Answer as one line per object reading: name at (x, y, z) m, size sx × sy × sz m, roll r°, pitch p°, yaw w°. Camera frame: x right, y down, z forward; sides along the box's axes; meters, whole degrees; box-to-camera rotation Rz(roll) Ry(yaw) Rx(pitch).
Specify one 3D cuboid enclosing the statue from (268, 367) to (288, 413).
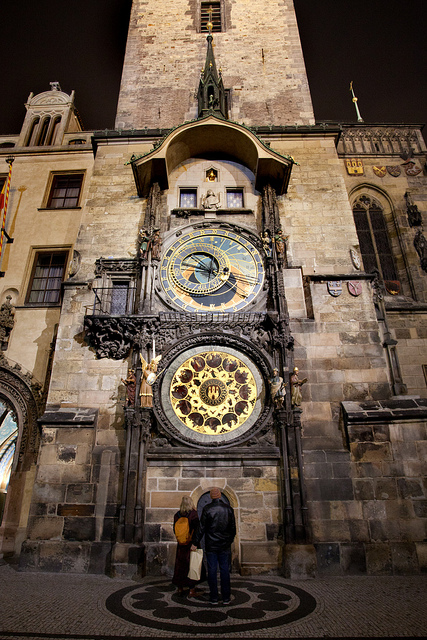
statue at (1.566, 1.688, 10.989) m, size 0.375 × 1.143 × 0.402 m, roll 17°, pitch -30°, yaw -34°

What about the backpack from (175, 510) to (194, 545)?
backpack at (-0.475, 3.312, 7.026) m, size 0.258 × 0.405 × 0.410 m, roll -1°, pitch -16°, yaw 3°

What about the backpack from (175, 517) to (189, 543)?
backpack at (-0.493, 3.283, 7.029) m, size 0.224 × 0.322 × 0.105 m, roll -2°, pitch 0°, yaw 24°

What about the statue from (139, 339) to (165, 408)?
statue at (-1.578, 1.454, 11.019) m, size 0.538 × 1.412 × 0.452 m, roll 6°, pitch -25°, yaw -14°

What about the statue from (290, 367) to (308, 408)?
statue at (2.055, 1.620, 10.885) m, size 0.342 × 0.962 × 0.758 m, roll -2°, pitch -25°, yaw 4°

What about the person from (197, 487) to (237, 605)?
person at (0.060, 3.296, 6.566) m, size 0.534 × 1.543 × 0.531 m, roll 4°, pitch -25°, yaw -10°

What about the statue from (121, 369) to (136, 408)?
statue at (-2.066, 1.688, 11.061) m, size 0.345 × 1.054 × 0.344 m, roll -3°, pitch -25°, yaw 5°

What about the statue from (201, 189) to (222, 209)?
statue at (-0.061, -3.938, 14.721) m, size 0.749 × 0.750 × 0.243 m, roll 0°, pitch -24°, yaw 0°
